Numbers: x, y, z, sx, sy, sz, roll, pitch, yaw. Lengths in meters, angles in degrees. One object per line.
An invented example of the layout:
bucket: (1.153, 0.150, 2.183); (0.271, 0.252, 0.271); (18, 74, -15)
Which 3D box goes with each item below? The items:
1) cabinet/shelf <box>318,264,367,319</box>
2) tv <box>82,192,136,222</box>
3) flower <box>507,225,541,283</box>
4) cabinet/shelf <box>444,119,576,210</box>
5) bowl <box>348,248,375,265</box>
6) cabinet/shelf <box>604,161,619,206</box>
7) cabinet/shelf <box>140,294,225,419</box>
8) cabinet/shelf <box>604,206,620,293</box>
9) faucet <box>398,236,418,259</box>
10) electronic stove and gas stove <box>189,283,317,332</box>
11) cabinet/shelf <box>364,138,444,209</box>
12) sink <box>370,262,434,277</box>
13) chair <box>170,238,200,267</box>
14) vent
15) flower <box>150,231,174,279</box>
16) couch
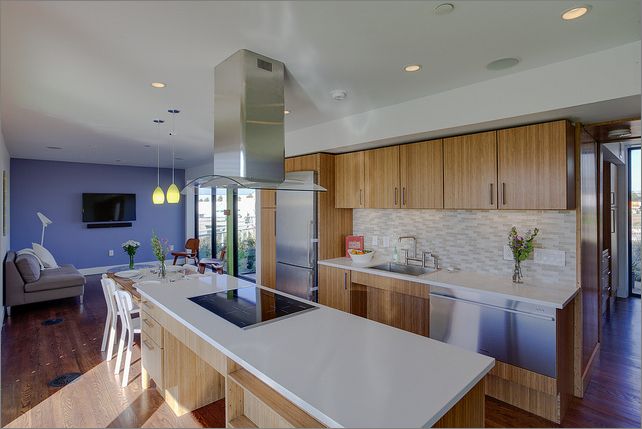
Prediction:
cabinet/shelf: (0.376, 0.986, 5.396); (0.438, 0.577, 0.424); (-6, -5, 24)
tv: (-4.892, -0.152, 9.180); (0.720, 0.501, 0.093); (1, 1, -40)
flower: (2.235, 0.447, 4.411); (0.305, 0.607, 0.304); (-1, 3, 27)
cabinet/shelf: (2.028, -0.544, 4.528); (1.295, 0.957, 0.463); (0, 24, 29)
bowl: (0.548, 0.580, 5.424); (0.286, 0.169, 0.223); (-3, 2, -10)
cabinet/shelf: (4.483, -0.469, 6.204); (0.221, 0.664, 0.693); (-1, -4, 40)
cabinet/shelf: (-1.343, 1.391, 3.946); (0.477, 1.031, 1.231); (1, 1, -41)
cabinet/shelf: (4.534, 0.305, 6.305); (0.138, 1.266, 0.243); (2, 15, 39)
faucet: (1.140, 0.436, 5.279); (0.271, 0.290, 0.114); (-1, 3, 33)
electronic stove and gas stove: (-0.657, 0.881, 3.844); (0.784, 0.152, 1.067); (-4, 2, -45)
cabinet/shelf: (0.951, -0.499, 5.179); (1.124, 0.821, 0.397); (-3, 4, -17)
sink: (1.077, 0.714, 5.132); (0.816, 0.121, 0.342); (-2, 2, 35)
chair: (-2.919, 0.864, 8.758); (0.545, 0.586, 0.552); (-1, 7, -22)
vent: (-0.564, -0.852, 4.371); (1.069, 1.322, 1.484); (2, 1, 44)
flower: (-2.098, 0.525, 5.299); (0.316, 0.613, 0.269); (1, -3, -28)
couch: (-4.700, 0.808, 6.814); (0.891, 0.722, 1.594); (0, 2, -31)
